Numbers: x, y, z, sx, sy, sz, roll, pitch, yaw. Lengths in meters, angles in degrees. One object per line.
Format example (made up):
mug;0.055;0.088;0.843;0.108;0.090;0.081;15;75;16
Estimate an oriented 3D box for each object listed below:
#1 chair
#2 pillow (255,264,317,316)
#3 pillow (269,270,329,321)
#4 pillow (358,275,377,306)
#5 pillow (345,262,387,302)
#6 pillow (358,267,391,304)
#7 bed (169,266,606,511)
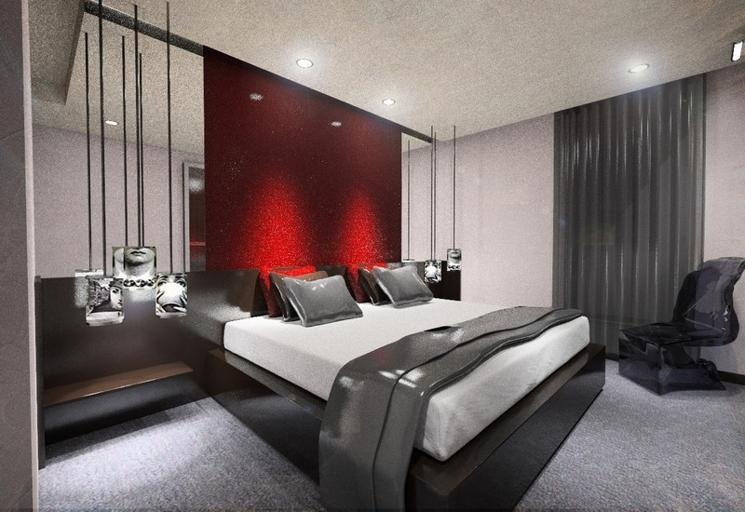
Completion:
chair;3.003;0.661;4.543;1.008;1.236;0.550;-4;4;-4
pillow;-0.861;0.292;4.479;0.138;0.463;0.508;-29;-18;32
pillow;-0.709;0.319;4.307;0.164;0.459;0.499;-35;-21;31
pillow;-0.072;0.364;5.147;0.087;0.289;0.254;-28;3;2
pillow;-0.063;0.334;5.194;0.128;0.407;0.436;-27;-15;20
pillow;-0.053;0.360;5.195;0.116;0.371;0.400;-27;-14;30
bed;-0.082;0.999;3.549;2.145;0.885;2.328;-1;0;44
